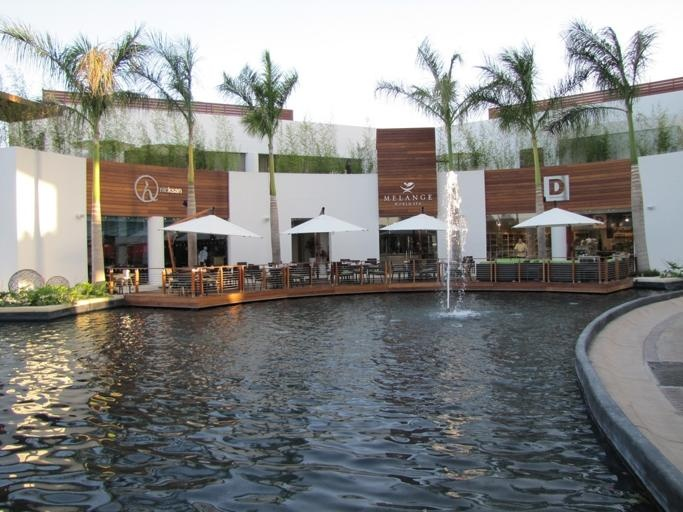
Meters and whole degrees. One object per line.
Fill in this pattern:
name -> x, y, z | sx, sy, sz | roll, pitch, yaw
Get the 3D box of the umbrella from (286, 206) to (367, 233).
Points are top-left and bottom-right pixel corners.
umbrella -> -0.607, -1.323, 19.685 | 1.973, 0.726, 2.065 | 1, 5, 30

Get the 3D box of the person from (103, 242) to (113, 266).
person -> -11.135, -0.143, 24.356 | 0.407, 1.120, 0.319 | -2, 4, -5

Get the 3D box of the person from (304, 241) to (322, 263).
person -> -1.577, -0.343, 27.185 | 1.003, 1.077, 0.662 | -1, 4, 11

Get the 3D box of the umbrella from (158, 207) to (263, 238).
umbrella -> -4.574, -1.115, 17.977 | 2.354, 0.756, 2.071 | 0, 4, 13
